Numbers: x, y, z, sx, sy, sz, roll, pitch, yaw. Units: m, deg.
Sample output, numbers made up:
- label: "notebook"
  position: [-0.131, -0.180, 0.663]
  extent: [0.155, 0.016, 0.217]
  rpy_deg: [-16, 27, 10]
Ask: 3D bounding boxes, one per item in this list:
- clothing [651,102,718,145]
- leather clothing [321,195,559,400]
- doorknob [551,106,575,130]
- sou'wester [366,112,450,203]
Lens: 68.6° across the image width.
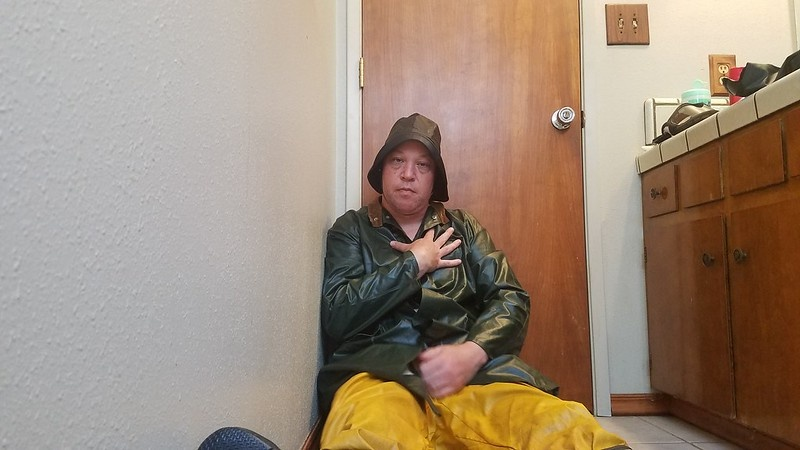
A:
- label: "clothing"
  position: [1.147, -0.426, 2.384]
  extent: [0.147, 0.078, 0.212]
  rpy_deg: [-32, 5, -32]
- label: "leather clothing"
  position: [0.074, 0.242, 1.918]
  extent: [0.536, 0.393, 0.732]
  rpy_deg: [0, 18, -8]
- label: "doorknob"
  position: [0.680, -0.448, 2.455]
  extent: [0.097, 0.094, 0.089]
  rpy_deg: [2, 1, 5]
- label: "sou'wester"
  position: [0.038, -0.199, 2.210]
  extent: [0.248, 0.213, 0.375]
  rpy_deg: [7, -33, 4]
